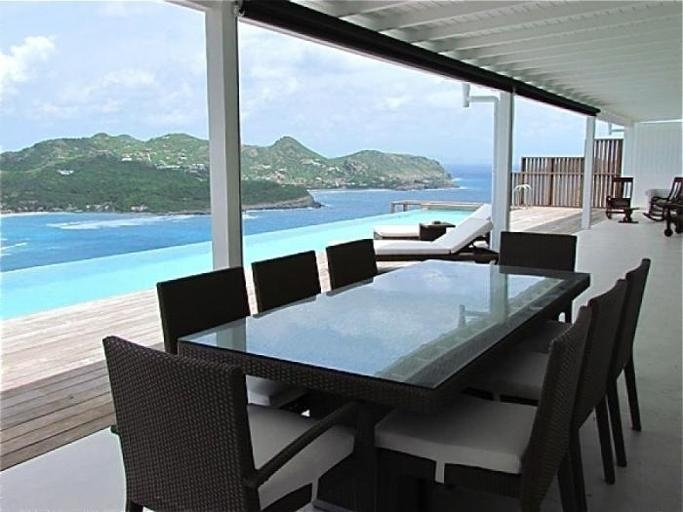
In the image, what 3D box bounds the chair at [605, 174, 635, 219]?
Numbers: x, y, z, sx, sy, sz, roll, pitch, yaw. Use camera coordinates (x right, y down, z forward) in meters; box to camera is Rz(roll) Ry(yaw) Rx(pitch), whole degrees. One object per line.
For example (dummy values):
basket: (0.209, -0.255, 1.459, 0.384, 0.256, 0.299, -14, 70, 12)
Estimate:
chair: (8.055, -1.726, 13.983, 0.570, 1.025, 2.195, 3, 9, 22)
